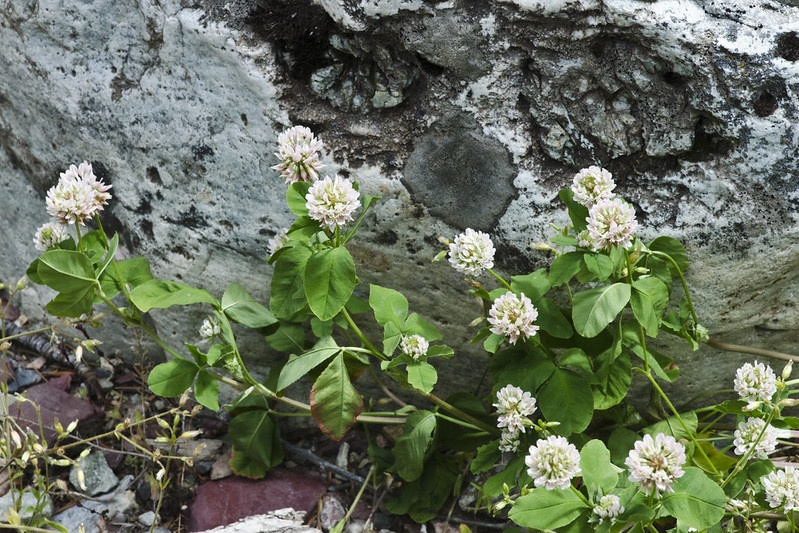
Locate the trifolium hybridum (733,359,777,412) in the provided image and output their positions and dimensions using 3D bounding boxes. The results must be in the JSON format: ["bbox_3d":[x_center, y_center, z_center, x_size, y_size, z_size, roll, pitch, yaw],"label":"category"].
[{"bbox_3d":[1.740,0.574,4.097,0.171,0.153,0.180,6,8,17],"label":"trifolium hybridum"}]

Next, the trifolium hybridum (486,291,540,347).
[{"bbox_3d":[0.546,0.254,4.107,0.225,0.171,0.179,23,13,27],"label":"trifolium hybridum"}]

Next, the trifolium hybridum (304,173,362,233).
[{"bbox_3d":[-0.345,-0.304,4.122,0.256,0.266,0.152,21,-3,1],"label":"trifolium hybridum"}]

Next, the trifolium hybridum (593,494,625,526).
[{"bbox_3d":[0.941,1.084,3.806,0.118,0.131,0.062,15,-2,9],"label":"trifolium hybridum"}]

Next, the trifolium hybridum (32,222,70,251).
[{"bbox_3d":[-1.899,-0.155,4.459,0.120,0.107,0.125,-27,10,11],"label":"trifolium hybridum"}]

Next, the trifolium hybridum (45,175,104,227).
[{"bbox_3d":[-1.722,-0.354,4.245,0.273,0.236,0.262,-11,43,-42],"label":"trifolium hybridum"}]

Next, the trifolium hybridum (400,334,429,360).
[{"bbox_3d":[0.052,0.396,4.235,0.120,0.110,0.120,14,18,39],"label":"trifolium hybridum"}]

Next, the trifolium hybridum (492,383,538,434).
[{"bbox_3d":[0.554,0.667,4.180,0.197,0.124,0.218,4,3,25],"label":"trifolium hybridum"}]

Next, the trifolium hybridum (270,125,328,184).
[{"bbox_3d":[-0.524,-0.489,4.273,0.282,0.311,0.309,4,-33,1],"label":"trifolium hybridum"}]

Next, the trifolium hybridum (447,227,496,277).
[{"bbox_3d":[0.360,-0.079,4.199,0.202,0.145,0.207,28,25,24],"label":"trifolium hybridum"}]

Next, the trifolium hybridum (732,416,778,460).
[{"bbox_3d":[1.729,0.825,4.070,0.204,0.183,0.161,10,13,-33],"label":"trifolium hybridum"}]

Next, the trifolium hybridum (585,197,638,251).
[{"bbox_3d":[0.988,-0.196,3.911,0.204,0.231,0.121,14,0,2],"label":"trifolium hybridum"}]
